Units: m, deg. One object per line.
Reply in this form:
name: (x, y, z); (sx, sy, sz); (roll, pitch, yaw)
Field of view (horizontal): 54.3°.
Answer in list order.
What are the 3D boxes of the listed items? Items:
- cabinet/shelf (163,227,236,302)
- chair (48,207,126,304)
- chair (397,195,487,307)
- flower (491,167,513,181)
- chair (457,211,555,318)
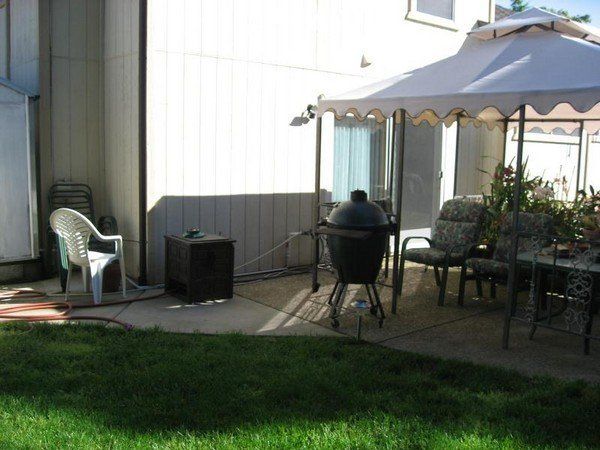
cabinet/shelf: (-1.161, 0.443, 7.075); (0.575, 0.737, 0.681); (-4, 17, -26)
chair: (-2.429, 0.344, 6.817); (0.685, 1.124, 0.760); (2, 4, 38)
chair: (1.798, 0.277, 7.408); (0.924, 1.332, 1.028); (6, 2, 11)
flower: (2.903, -0.739, 8.316); (0.331, 0.212, 0.316); (9, 13, 34)
chair: (2.348, 0.384, 6.690); (0.739, 1.096, 0.865); (6, 3, 39)
